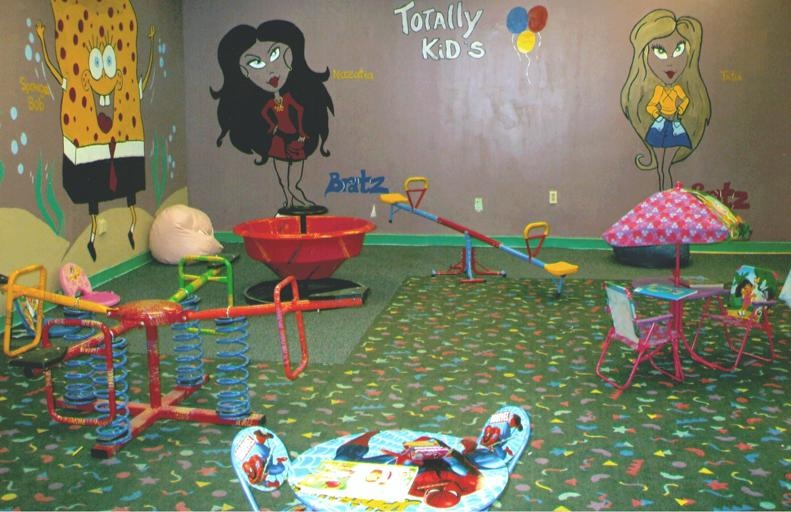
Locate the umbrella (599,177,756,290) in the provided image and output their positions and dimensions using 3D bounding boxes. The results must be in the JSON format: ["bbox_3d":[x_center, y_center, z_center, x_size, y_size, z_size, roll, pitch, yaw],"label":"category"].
[{"bbox_3d":[2.557,-0.255,6.005,1.344,0.906,1.122,4,23,-3],"label":"umbrella"}]
